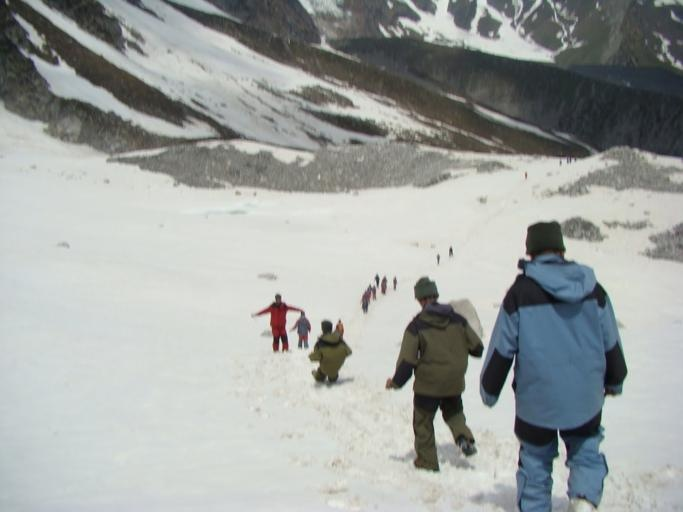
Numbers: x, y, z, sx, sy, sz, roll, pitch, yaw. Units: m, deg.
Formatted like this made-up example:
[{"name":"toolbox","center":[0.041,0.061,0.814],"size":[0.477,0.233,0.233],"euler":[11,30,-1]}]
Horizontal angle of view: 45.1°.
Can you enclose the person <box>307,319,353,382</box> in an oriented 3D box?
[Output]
[{"name":"person","center":[-0.217,1.482,12.452],"size":[0.538,1.086,0.557],"euler":[-1,31,-7]}]

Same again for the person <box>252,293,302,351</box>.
[{"name":"person","center":[-1.088,1.094,13.270],"size":[0.635,0.918,0.229],"euler":[-2,-11,-10]}]

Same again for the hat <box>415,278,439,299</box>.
[{"name":"hat","center":[1.015,0.397,10.137],"size":[0.252,0.295,0.223],"euler":[-2,1,-43]}]

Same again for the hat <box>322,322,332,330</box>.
[{"name":"hat","center":[-0.229,1.008,11.890],"size":[0.088,0.148,0.134],"euler":[9,15,3]}]

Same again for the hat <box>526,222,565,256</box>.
[{"name":"hat","center":[2.356,-0.181,9.593],"size":[0.381,0.416,0.331],"euler":[2,-2,-43]}]

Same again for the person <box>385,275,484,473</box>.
[{"name":"person","center":[1.159,1.442,10.361],"size":[1.006,2.593,0.862],"euler":[-5,17,-5]}]

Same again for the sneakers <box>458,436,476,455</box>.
[{"name":"sneakers","center":[1.552,2.364,10.192],"size":[0.156,0.254,0.212],"euler":[-20,-2,27]}]
